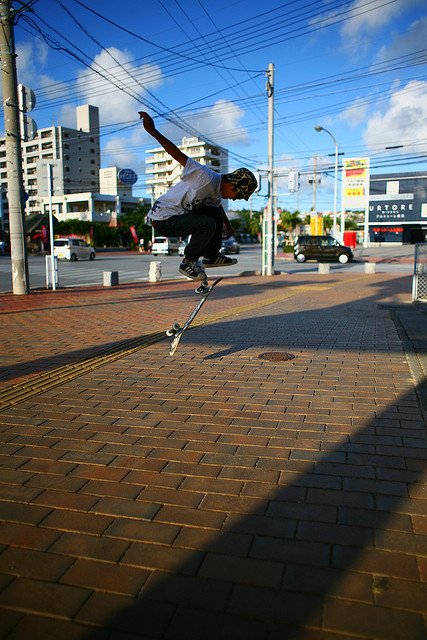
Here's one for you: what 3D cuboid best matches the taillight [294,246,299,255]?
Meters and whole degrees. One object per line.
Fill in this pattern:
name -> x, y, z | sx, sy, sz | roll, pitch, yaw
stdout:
taillight -> 5.806, -4.846, 32.634 | 0.283, 0.446, 0.307 | -3, 13, -34

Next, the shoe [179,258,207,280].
shoe -> -0.187, -0.509, 4.715 | 0.338, 0.145, 0.130 | 27, 48, 25

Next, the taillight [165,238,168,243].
taillight -> -4.150, -7.085, 41.823 | 0.163, 0.340, 0.759 | -1, 8, -6

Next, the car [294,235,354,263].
car -> 7.362, -4.817, 32.107 | 3.569, 1.824, 1.255 | 1, 7, 10

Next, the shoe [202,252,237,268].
shoe -> 0.054, -0.611, 4.863 | 0.415, 0.177, 0.141 | -4, 40, 3

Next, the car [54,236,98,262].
car -> -10.160, -5.119, 34.409 | 3.246, 1.648, 3.026 | -8, 10, -44

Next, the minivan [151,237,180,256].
minivan -> -4.319, -6.656, 42.548 | 1.836, 1.489, 1.999 | 4, 9, 31

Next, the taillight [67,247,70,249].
taillight -> -10.029, -4.983, 32.534 | 0.131, 0.122, 0.031 | 7, 0, -3

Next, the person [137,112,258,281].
person -> -0.166, -1.061, 4.383 | 0.851, 1.297, 1.627 | 11, 14, 40
